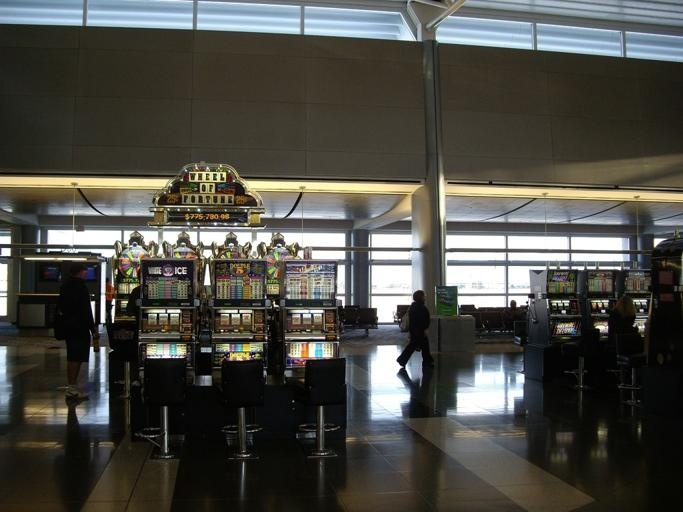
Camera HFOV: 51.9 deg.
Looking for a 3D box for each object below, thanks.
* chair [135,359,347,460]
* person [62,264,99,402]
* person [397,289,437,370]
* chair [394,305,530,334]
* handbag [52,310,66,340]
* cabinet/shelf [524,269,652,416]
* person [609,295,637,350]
[{"bbox_3d":[-1.378,2.140,10.281,2.905,1.374,0.955,0,10,-2],"label":"chair"},{"bbox_3d":[-4.614,1.329,12.413,0.594,2.244,0.801,-4,10,-21],"label":"person"},{"bbox_3d":[1.617,1.639,15.346,0.778,1.722,0.875,0,10,0],"label":"person"},{"bbox_3d":[3.258,1.676,18.163,3.370,1.013,0.880,0,-8,-2],"label":"chair"},{"bbox_3d":[-4.954,1.258,12.391,0.152,0.544,0.416,-5,11,-30],"label":"handbag"},{"bbox_3d":[5.187,1.624,13.847,2.713,2.733,2.248,1,-7,-3],"label":"cabinet/shelf"},{"bbox_3d":[5.135,1.288,12.870,0.433,0.928,1.036,4,11,21],"label":"person"}]
